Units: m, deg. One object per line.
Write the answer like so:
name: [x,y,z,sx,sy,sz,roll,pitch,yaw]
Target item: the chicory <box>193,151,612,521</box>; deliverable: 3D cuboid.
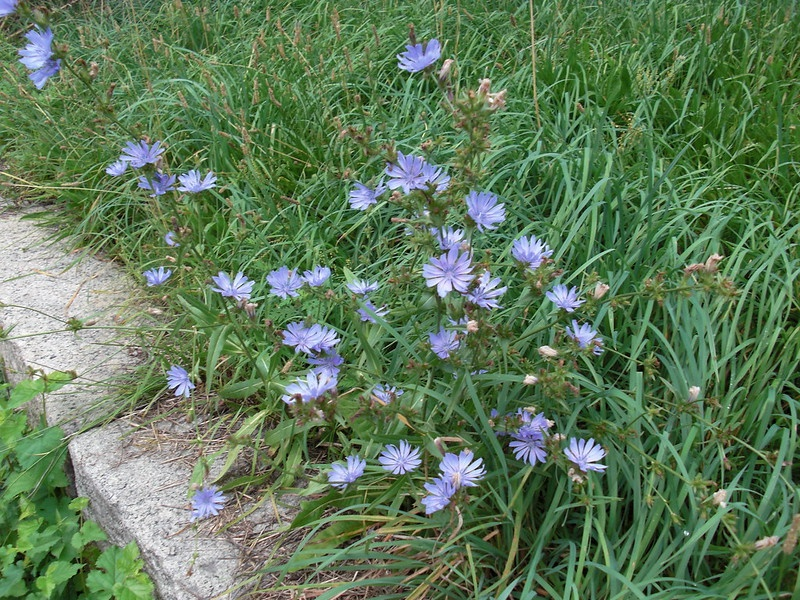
chicory: [0.044,0.183,2.820,0.936,0.976,0.972,34,76,2]
